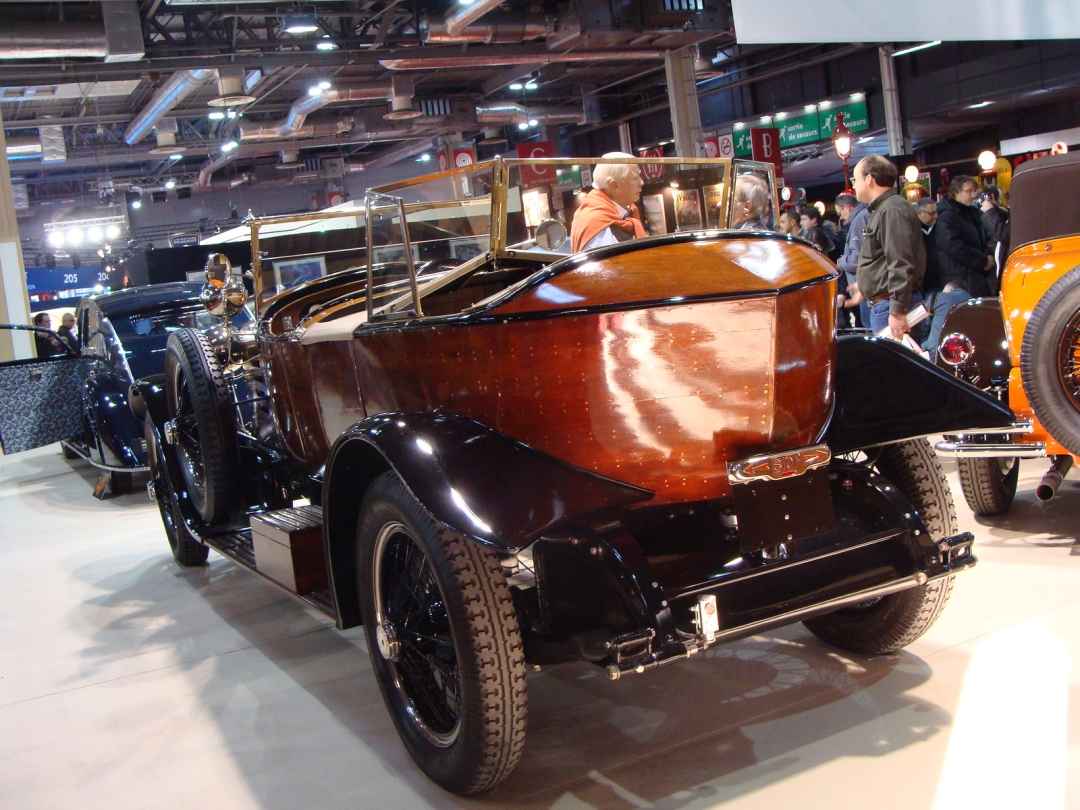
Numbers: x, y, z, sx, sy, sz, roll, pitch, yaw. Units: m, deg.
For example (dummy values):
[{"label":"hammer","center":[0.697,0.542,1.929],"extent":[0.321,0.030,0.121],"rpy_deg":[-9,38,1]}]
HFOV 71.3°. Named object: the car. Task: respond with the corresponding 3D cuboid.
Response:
[{"label":"car","center":[-0.565,0.012,4.042],"extent":[2.465,1.787,4.587],"rpy_deg":[-5,8,-31]}]
